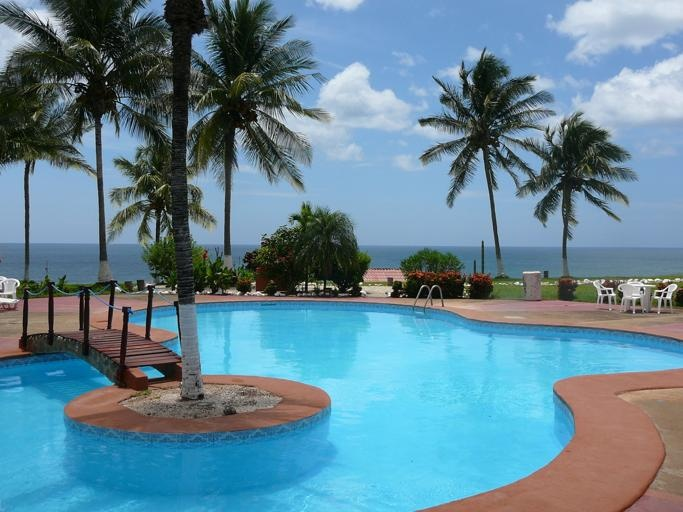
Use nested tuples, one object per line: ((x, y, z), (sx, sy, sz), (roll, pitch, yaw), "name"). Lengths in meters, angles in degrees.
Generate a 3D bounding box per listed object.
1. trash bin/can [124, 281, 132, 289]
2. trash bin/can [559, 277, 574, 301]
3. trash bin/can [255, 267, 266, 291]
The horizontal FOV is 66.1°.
((-9.394, 1.221, 22.957), (0.359, 0.407, 0.362), (0, 1, 3), "trash bin/can")
((9.382, 1.349, 21.886), (0.595, 0.743, 1.285), (2, 5, 23), "trash bin/can")
((-3.762, 1.032, 24.680), (0.461, 1.228, 1.071), (-4, 6, -30), "trash bin/can")
